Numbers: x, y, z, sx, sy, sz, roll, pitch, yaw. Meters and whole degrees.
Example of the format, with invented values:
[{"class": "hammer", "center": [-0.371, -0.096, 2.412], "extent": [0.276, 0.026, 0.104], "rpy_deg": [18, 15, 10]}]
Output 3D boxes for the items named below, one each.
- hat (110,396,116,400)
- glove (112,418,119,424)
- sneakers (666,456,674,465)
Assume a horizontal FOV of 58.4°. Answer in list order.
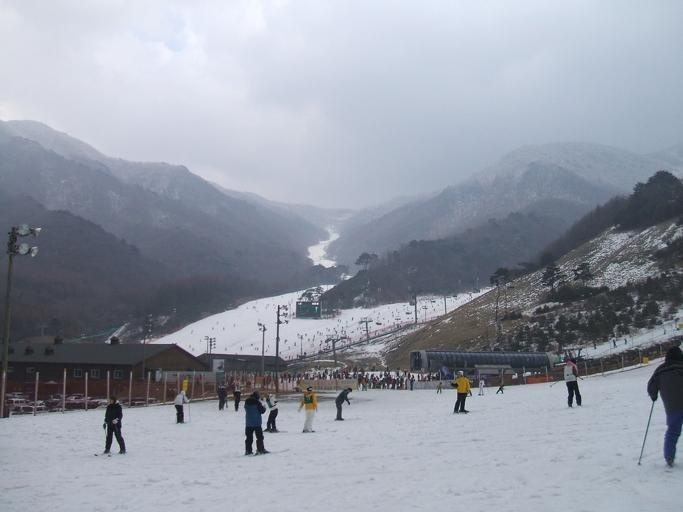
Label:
[{"class": "hat", "center": [-8.603, 5.399, 23.093], "extent": [0.177, 0.141, 0.185], "rpy_deg": [1, -3, 21]}, {"class": "glove", "center": [-8.500, 6.214, 23.077], "extent": [0.204, 0.066, 0.157], "rpy_deg": [2, 4, -41]}, {"class": "sneakers", "center": [9.310, 5.849, 17.466], "extent": [0.192, 0.229, 0.196], "rpy_deg": [3, 6, -1]}]
